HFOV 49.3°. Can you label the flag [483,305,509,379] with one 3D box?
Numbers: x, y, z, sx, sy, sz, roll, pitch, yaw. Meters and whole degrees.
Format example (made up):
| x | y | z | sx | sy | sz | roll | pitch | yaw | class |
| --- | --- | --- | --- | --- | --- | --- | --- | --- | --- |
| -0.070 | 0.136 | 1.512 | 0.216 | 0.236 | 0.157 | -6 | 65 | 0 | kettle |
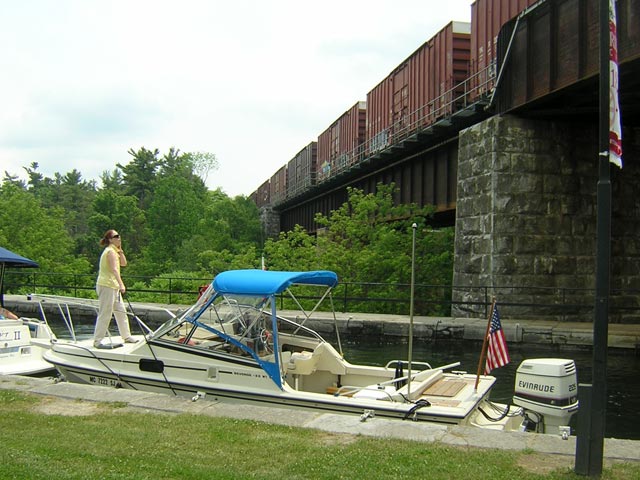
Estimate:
| x | y | z | sx | sy | sz | roll | pitch | yaw | class |
| --- | --- | --- | --- | --- | --- | --- | --- | --- | --- |
| 2.816 | 1.629 | 11.203 | 0.356 | 1.234 | 0.673 | 3 | 8 | 13 | flag |
